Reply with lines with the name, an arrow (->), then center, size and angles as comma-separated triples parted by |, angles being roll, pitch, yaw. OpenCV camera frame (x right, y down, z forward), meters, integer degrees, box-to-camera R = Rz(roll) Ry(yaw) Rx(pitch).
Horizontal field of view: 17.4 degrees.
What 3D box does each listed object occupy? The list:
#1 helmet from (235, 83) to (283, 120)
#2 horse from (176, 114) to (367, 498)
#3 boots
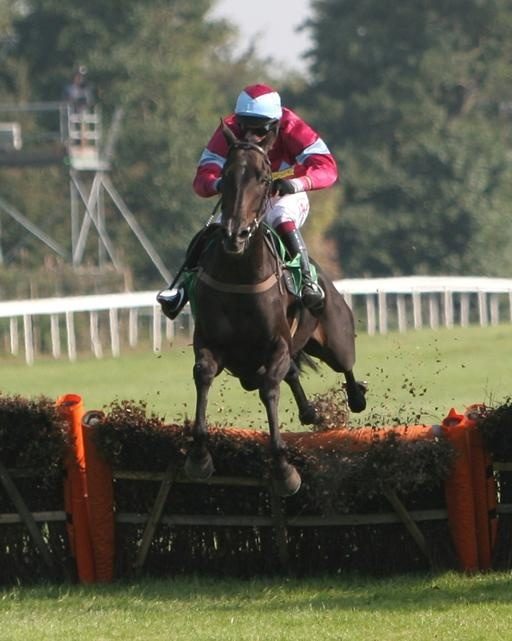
helmet -> 0.001, -1.712, 13.005 | 0.325, 0.183, 0.242 | 1, -2, 44
horse -> 0.185, -0.211, 13.376 | 1.361, 2.805, 2.179 | 1, 10, 4
boots -> 0.364, -0.425, 13.253 | 0.231, 0.782, 0.208 | -14, -29, -1
